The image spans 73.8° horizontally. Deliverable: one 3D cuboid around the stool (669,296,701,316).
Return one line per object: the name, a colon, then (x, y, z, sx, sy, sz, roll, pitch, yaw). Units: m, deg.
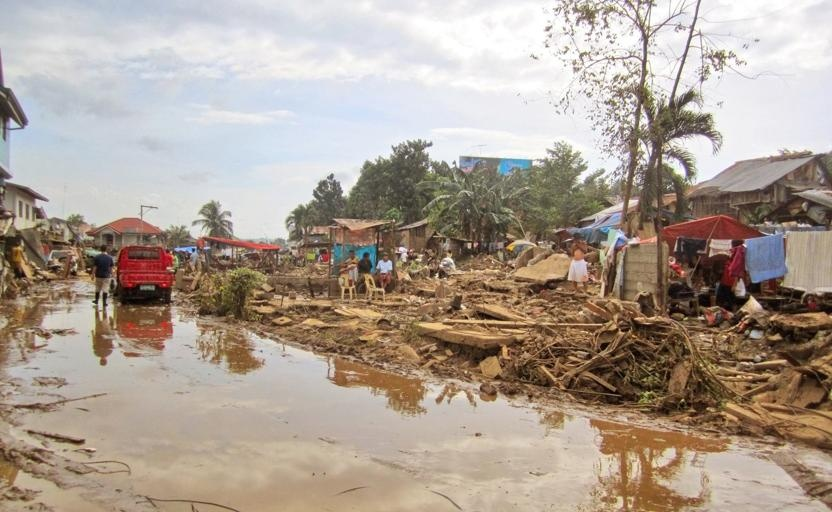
stool: (7.476, 1.394, 15.311, 0.594, 0.441, 0.605, 1, -2, -14)

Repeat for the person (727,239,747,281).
person: (8.855, 0.201, 15.301, 0.436, 1.192, 0.851, 1, -2, 31)

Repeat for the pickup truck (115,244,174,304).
pickup truck: (-10.392, 0.508, 20.953, 1.863, 1.646, 3.382, 2, 10, -30)

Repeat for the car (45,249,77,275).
car: (-20.548, 0.361, 31.963, 2.331, 1.107, 1.458, -2, 6, -7)

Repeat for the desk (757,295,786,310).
desk: (9.620, 1.283, 14.949, 0.664, 0.374, 1.084, 0, -4, 33)
